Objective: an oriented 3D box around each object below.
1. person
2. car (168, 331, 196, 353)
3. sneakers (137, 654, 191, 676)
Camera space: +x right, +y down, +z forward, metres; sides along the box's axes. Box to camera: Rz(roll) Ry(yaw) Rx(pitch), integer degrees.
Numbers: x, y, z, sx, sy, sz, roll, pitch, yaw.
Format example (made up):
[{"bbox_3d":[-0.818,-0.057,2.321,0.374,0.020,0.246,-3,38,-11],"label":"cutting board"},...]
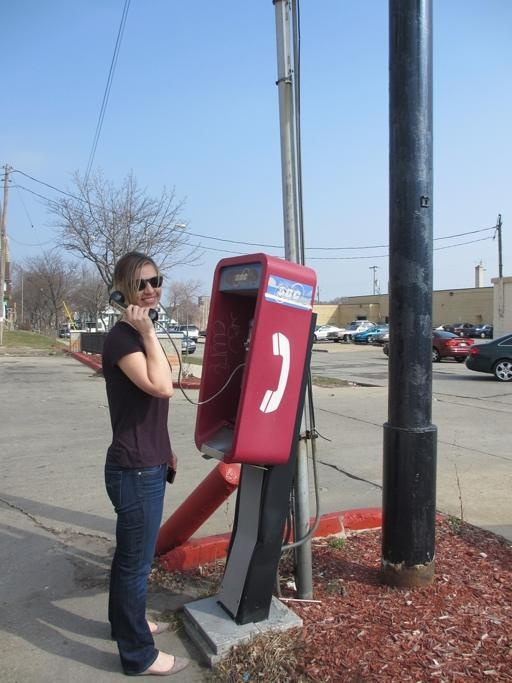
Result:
[{"bbox_3d":[-0.492,0.499,2.617,0.327,1.797,0.429,-3,0,-14],"label":"person"},{"bbox_3d":[-2.914,0.041,24.398,1.371,0.911,2.839,2,-5,-11],"label":"car"},{"bbox_3d":[-0.388,1.354,2.594,0.208,0.053,0.077,-2,-6,-8],"label":"sneakers"}]
